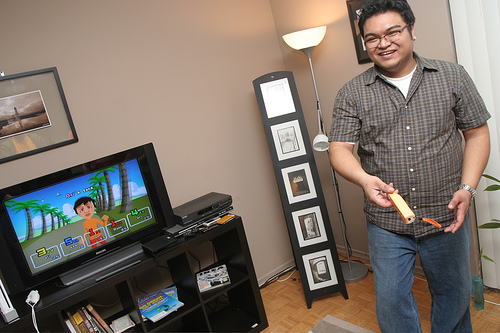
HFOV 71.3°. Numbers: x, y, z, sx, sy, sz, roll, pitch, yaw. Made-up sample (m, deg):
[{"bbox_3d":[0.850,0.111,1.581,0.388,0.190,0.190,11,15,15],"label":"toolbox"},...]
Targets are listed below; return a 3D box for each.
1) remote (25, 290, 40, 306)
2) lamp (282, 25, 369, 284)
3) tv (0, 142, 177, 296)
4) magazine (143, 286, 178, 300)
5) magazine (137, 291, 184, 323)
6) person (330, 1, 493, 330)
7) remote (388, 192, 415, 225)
[{"bbox_3d":[-1.491,0.901,2.422,0.085,0.080,0.147,8,2,-23],"label":"remote"},{"bbox_3d":[0.786,-0.079,3.515,0.713,2.434,0.677,-13,22,9],"label":"lamp"},{"bbox_3d":[-1.273,0.390,2.650,1.236,0.665,0.095,-20,12,-28],"label":"tv"},{"bbox_3d":[-0.765,1.079,2.970,0.303,0.027,0.199,-8,10,-21],"label":"magazine"},{"bbox_3d":[-0.735,1.131,2.843,0.278,0.109,0.290,-20,13,-38],"label":"magazine"},{"bbox_3d":[0.970,0.075,1.988,0.916,2.021,0.509,-13,12,2],"label":"person"},{"bbox_3d":[0.738,0.192,1.774,0.065,0.058,0.229,-14,36,-10],"label":"remote"}]
